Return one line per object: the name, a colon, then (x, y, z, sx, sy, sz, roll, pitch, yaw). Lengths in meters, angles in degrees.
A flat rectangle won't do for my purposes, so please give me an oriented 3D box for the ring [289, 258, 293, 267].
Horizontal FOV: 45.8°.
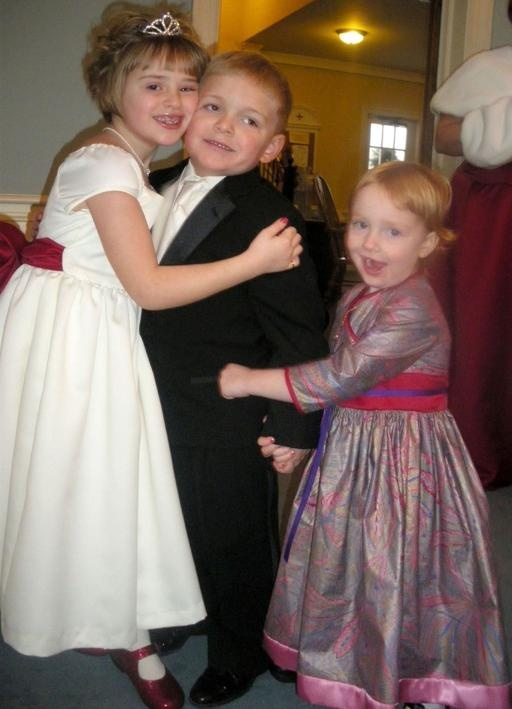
ring: (0.064, -0.169, 1.118, 0.008, 0.010, 0.004, -18, -21, -1)
